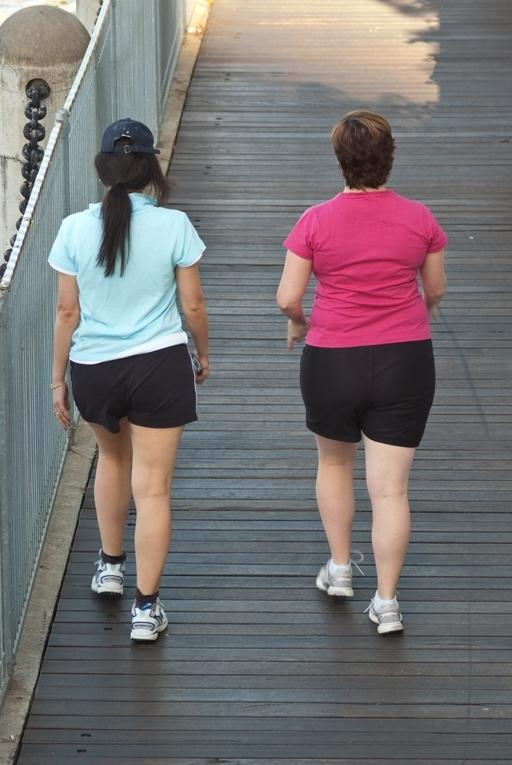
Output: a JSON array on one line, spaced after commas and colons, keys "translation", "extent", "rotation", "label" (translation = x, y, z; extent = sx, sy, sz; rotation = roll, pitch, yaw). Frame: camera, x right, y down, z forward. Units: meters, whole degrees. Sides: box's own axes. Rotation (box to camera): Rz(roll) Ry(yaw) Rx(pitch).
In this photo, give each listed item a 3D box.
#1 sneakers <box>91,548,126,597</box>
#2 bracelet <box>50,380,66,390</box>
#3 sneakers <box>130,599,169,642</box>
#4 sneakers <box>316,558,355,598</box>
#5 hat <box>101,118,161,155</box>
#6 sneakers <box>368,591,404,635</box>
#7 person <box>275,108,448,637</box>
[{"translation": [-0.465, 0.620, 3.439], "extent": [0.080, 0.109, 0.188], "rotation": [6, 5, -5], "label": "sneakers"}, {"translation": [-0.591, 0.008, 3.231], "extent": [0.033, 0.006, 0.030], "rotation": [-15, -15, 0], "label": "bracelet"}, {"translation": [-0.320, 0.710, 3.239], "extent": [0.080, 0.093, 0.173], "rotation": [1, 12, 10], "label": "sneakers"}, {"translation": [0.239, 0.631, 3.508], "extent": [0.075, 0.079, 0.165], "rotation": [4, 5, -11], "label": "sneakers"}, {"translation": [-0.332, -0.678, 2.980], "extent": [0.153, 0.067, 0.097], "rotation": [-5, 16, -33], "label": "hat"}, {"translation": [0.387, 0.696, 3.279], "extent": [0.078, 0.067, 0.154], "rotation": [-4, 19, -4], "label": "sneakers"}, {"translation": [0.277, 0.020, 3.159], "extent": [0.471, 1.547, 0.673], "rotation": [4, 35, 8], "label": "person"}]
